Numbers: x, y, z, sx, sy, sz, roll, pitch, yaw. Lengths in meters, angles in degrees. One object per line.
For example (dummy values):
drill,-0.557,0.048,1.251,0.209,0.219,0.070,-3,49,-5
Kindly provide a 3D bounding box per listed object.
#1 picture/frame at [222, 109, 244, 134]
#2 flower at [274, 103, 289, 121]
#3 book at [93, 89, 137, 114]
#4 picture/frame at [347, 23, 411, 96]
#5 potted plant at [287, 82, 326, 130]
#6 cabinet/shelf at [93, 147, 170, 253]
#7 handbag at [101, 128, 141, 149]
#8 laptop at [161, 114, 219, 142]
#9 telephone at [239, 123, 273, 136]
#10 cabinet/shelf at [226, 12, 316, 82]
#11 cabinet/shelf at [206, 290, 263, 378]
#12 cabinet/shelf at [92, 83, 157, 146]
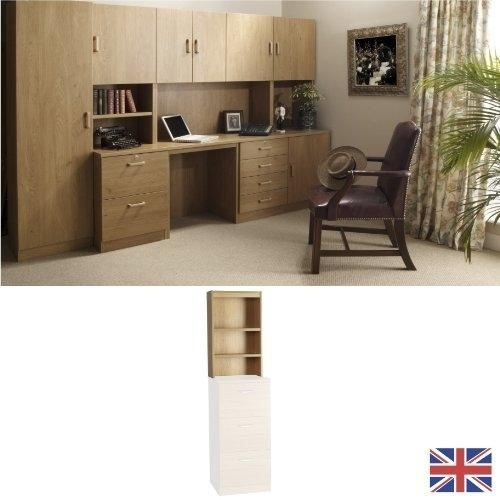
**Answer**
picture/frame,-0.184,-1.317,4.969,0.274,0.273,0.022,-5,3,-37
flower,0.308,-1.494,5.173,0.075,0.221,0.174,7,6,18
book,-1.067,-1.184,3.854,0.222,0.196,0.401,2,17,12
picture/frame,1.200,-1.829,4.684,0.617,0.607,0.055,-10,14,-19
potted plant,0.621,-1.596,5.335,0.325,0.510,0.527,-8,17,-21
cabinet/shelf,-0.946,-0.410,3.782,0.437,0.819,0.682,11,16,42
handbag,-1.023,-0.892,3.850,0.267,0.154,0.244,-14,21,-36
laptop,-0.560,-1.099,4.408,0.354,0.194,0.367,3,13,14
telephone,0.056,-1.203,4.845,0.318,0.102,0.238,-2,17,-2
cabinet/shelf,0.187,-2.040,4.859,0.825,0.487,0.265,-9,17,-31
cabinet/shelf,-0.085,0.418,2.499,0.288,0.497,0.354,-2,16,-2
cabinet/shelf,-1.030,-1.127,3.963,0.173,0.503,0.529,11,15,43
